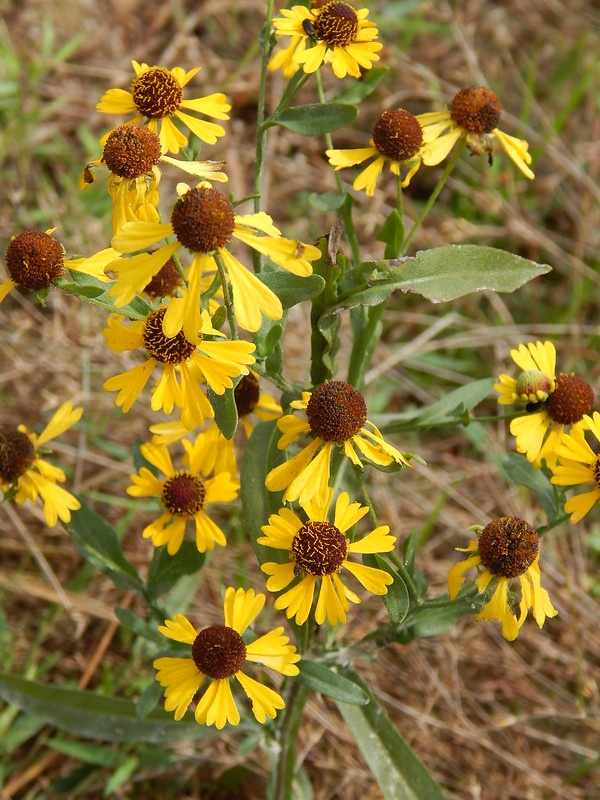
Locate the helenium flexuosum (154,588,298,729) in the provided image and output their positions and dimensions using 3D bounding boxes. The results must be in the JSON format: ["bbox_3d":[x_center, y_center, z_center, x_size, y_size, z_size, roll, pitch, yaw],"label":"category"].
[{"bbox_3d":[-0.165,0.550,1.540,0.298,0.118,0.313,-16,26,-35],"label":"helenium flexuosum"}]

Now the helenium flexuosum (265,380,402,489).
[{"bbox_3d":[0.037,0.087,1.574,0.272,0.227,0.276,-19,-12,-5],"label":"helenium flexuosum"}]

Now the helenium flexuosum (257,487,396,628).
[{"bbox_3d":[0.043,0.318,1.527,0.287,0.125,0.307,-40,21,2],"label":"helenium flexuosum"}]
